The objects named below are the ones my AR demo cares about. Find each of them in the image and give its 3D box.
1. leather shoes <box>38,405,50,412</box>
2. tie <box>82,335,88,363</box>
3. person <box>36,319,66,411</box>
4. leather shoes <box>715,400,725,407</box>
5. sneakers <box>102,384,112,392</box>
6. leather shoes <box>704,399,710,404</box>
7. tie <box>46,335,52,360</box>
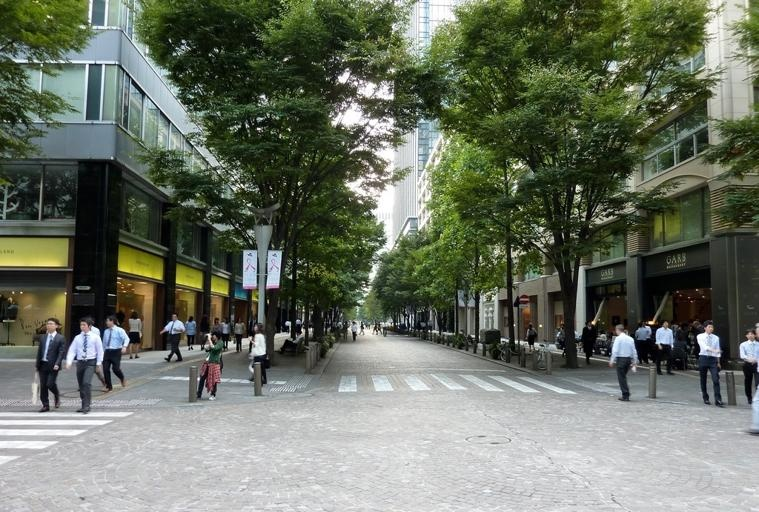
[{"bbox_3d":[-9.643,4.371,18.447,0.251,0.156,0.268,3,-9,-19],"label":"leather shoes"},{"bbox_3d":[-8.813,2.704,19.196,0.134,0.743,0.209,5,-9,-30],"label":"tie"},{"bbox_3d":[-9.759,3.162,18.990,0.698,2.684,1.407,5,-9,-26],"label":"person"},{"bbox_3d":[10.715,4.610,20.144,0.121,0.146,0.363,-5,-6,37],"label":"leather shoes"},{"bbox_3d":[-9.102,4.410,21.517,0.168,0.194,0.348,4,-3,-32],"label":"sneakers"},{"bbox_3d":[10.374,4.594,20.304,0.149,0.107,0.239,-3,-9,26],"label":"leather shoes"},{"bbox_3d":[-9.617,2.629,18.650,0.199,0.679,0.068,-2,-8,20],"label":"tie"}]
